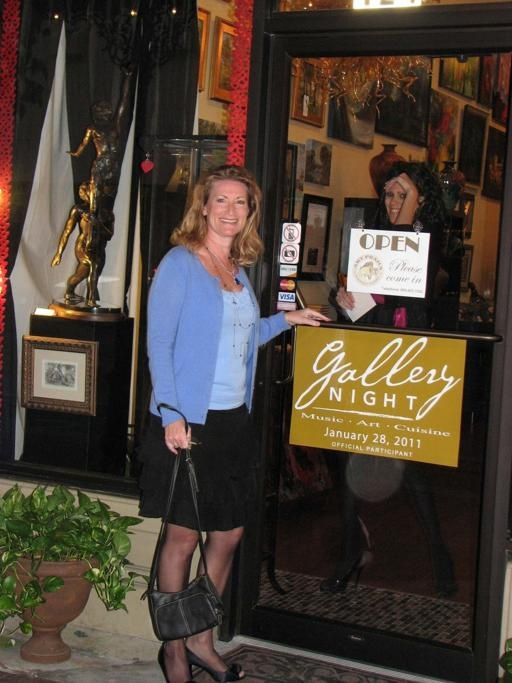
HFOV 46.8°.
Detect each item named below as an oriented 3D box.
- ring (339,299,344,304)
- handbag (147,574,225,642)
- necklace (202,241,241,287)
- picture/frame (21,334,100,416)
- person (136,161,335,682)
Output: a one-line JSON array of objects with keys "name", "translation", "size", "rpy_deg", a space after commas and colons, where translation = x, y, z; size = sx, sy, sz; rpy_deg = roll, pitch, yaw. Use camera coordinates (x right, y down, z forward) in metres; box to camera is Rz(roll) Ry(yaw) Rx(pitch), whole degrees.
[{"name": "ring", "translation": [0.289, -0.133, 1.997], "size": [0.009, 0.011, 0.003], "rpy_deg": [24, 18, 19]}, {"name": "handbag", "translation": [-0.196, 0.711, 1.617], "size": [0.190, 0.193, 0.111], "rpy_deg": [-14, -3, -5]}, {"name": "necklace", "translation": [-0.097, -0.223, 1.741], "size": [0.037, 0.123, 0.122], "rpy_deg": [-34, 31, 15]}, {"name": "picture/frame", "translation": [-0.776, 0.130, 2.391], "size": [0.325, 0.290, 0.024], "rpy_deg": [5, 3, 21]}, {"name": "person", "translation": [-0.139, 0.248, 1.757], "size": [0.279, 1.542, 0.526], "rpy_deg": [6, 5, 31]}]
